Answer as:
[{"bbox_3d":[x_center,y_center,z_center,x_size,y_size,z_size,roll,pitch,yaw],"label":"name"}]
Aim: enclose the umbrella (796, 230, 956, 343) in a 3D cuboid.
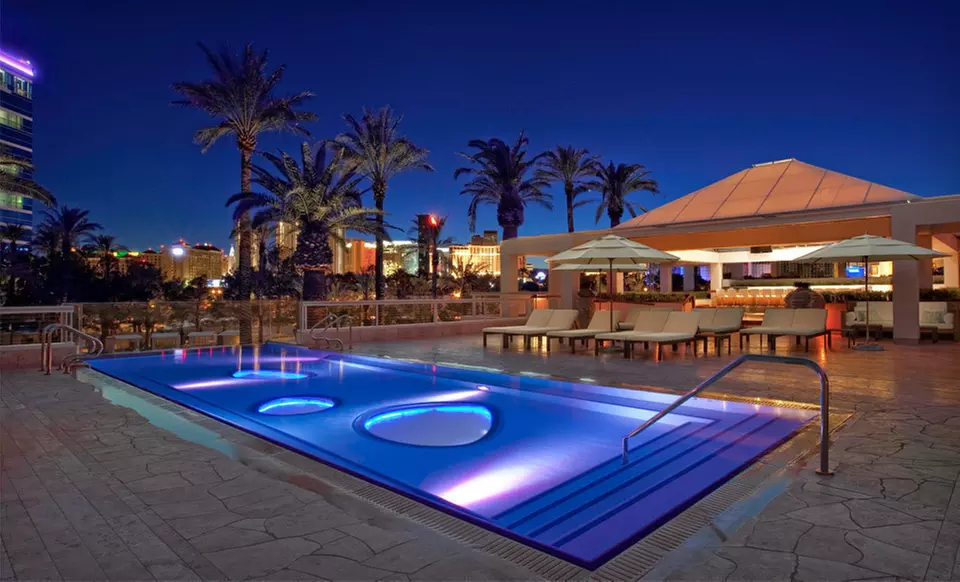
[{"bbox_3d":[9.694,-0.054,14.785,3.416,2.395,3.200,1,3,22],"label":"umbrella"}]
